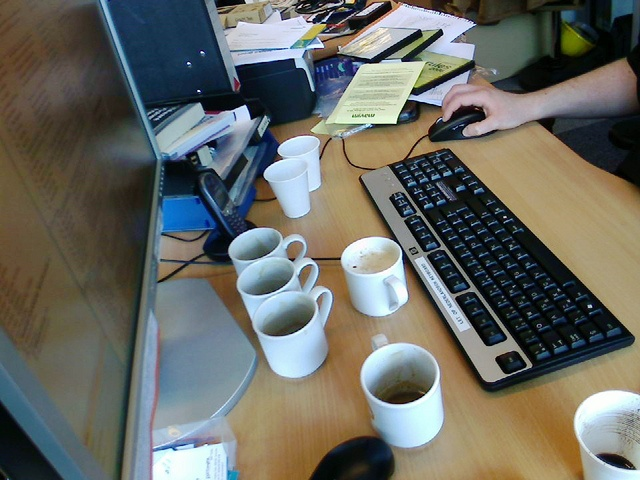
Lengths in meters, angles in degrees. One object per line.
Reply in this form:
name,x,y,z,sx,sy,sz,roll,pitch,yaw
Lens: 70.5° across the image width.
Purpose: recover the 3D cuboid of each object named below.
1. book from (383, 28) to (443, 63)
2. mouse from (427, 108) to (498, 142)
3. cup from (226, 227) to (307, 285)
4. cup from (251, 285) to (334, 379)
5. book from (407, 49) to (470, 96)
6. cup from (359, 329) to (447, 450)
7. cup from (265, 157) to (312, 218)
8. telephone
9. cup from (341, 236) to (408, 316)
book,0.263,-0.545,1.275,0.132,0.019,0.122,-48,33,-16
mouse,0.308,-0.241,0.978,0.119,0.037,0.070,-4,34,6
cup,-0.087,0.022,0.787,0.124,0.082,0.073,-8,49,4
cup,-0.026,0.122,0.647,0.084,0.089,0.133,19,44,35
book,0.308,-0.446,1.178,0.146,0.020,0.156,22,56,34
cup,0.100,0.180,0.566,0.093,0.092,0.135,-6,50,10
cup,-0.054,-0.107,0.943,0.108,0.105,0.101,-11,45,11
telephone,-0.179,-0.045,0.851,0.089,0.154,0.113,-4,53,1
cup,0.074,0.064,0.703,0.088,0.091,0.130,-19,32,-1
